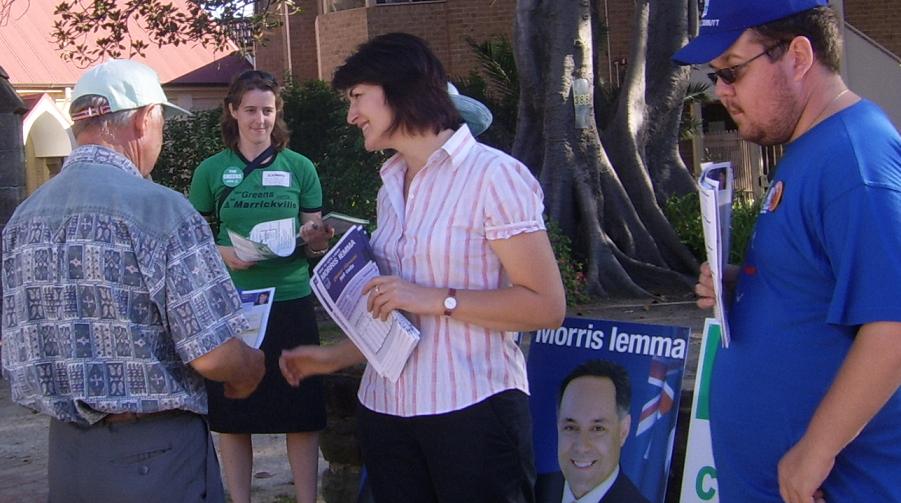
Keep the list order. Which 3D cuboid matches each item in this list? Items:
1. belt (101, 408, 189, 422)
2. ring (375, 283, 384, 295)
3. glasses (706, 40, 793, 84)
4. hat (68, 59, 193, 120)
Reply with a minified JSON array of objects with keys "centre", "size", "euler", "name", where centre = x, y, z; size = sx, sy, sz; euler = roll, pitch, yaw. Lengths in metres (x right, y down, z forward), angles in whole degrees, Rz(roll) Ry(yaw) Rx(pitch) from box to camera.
[{"centre":[-1.632,0.873,4.637],"size":[0.437,0.115,0.117],"euler":[3,-23,-18],"name":"belt"},{"centre":[-0.373,0.196,4.545],"size":[0.035,0.045,0.016],"euler":[43,0,21],"name":"ring"},{"centre":[1.493,-0.951,4.321],"size":[0.270,0.067,0.202],"euler":[-29,0,-2],"name":"glasses"},{"centre":[-1.774,-0.882,4.679],"size":[0.468,0.240,0.327],"euler":[-10,11,-32],"name":"hat"}]
